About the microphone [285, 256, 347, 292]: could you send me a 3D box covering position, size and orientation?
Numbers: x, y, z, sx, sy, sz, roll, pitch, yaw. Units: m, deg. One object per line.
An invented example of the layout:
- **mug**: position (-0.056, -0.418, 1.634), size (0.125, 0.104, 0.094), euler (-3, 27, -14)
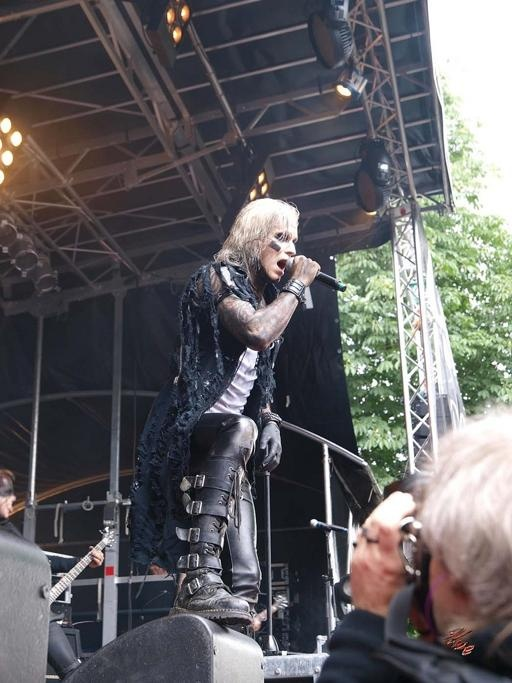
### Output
- **microphone**: position (0.264, -0.237, 3.038), size (0.145, 0.111, 0.134), euler (5, -1, 43)

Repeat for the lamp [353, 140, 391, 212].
- **lamp**: position (0.943, -1.385, 7.098), size (0.301, 0.555, 0.338), euler (0, 1, 21)

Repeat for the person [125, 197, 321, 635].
- **person**: position (-0.107, 0.103, 2.451), size (0.506, 1.287, 0.560), euler (-6, -9, 38)

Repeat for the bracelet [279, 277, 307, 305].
- **bracelet**: position (0.102, -0.139, 2.475), size (0.062, 0.056, 0.076), euler (17, -25, 26)

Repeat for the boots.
- **boots**: position (-0.120, 0.510, 2.161), size (0.193, 0.418, 0.312), euler (-2, -19, -3)
